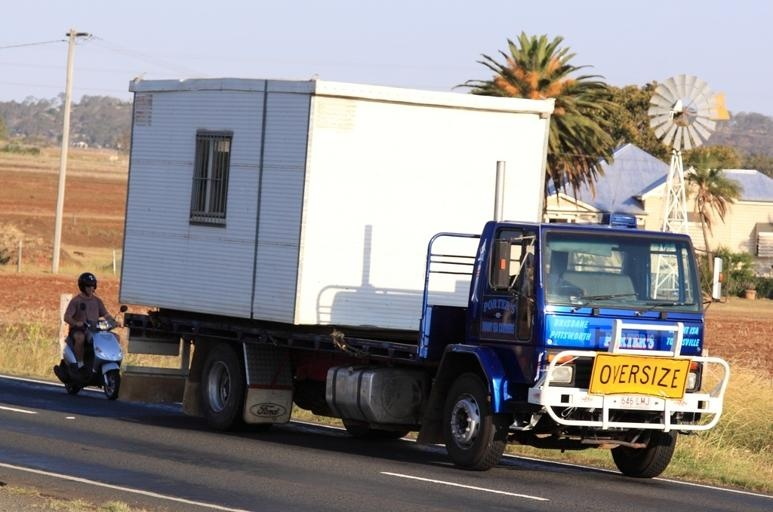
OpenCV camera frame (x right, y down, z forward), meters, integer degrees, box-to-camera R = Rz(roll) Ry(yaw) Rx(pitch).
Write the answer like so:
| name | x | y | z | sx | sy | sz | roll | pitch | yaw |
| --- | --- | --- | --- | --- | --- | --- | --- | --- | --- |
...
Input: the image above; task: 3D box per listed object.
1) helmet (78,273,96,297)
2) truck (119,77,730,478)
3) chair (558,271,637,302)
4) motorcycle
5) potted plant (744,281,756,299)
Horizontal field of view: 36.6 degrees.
| name | x | y | z | sx | sy | sz | roll | pitch | yaw |
| --- | --- | --- | --- | --- | --- | --- | --- | --- | --- |
| helmet | -6.244 | 0.584 | 24.770 | 0.418 | 0.519 | 0.481 | -1 | -3 | -37 |
| truck | 0.219 | 0.174 | 20.990 | 10.641 | 5.147 | 2.324 | 2 | -2 | 28 |
| chair | 3.380 | 0.497 | 18.836 | 1.350 | 0.482 | 0.234 | 4 | -2 | -16 |
| motorcycle | -6.086 | 2.123 | 24.418 | 1.601 | 1.618 | 0.584 | 2 | -2 | 36 |
| potted plant | 18.526 | 1.788 | 59.376 | 0.713 | 1.011 | 0.720 | 2 | 0 | 26 |
